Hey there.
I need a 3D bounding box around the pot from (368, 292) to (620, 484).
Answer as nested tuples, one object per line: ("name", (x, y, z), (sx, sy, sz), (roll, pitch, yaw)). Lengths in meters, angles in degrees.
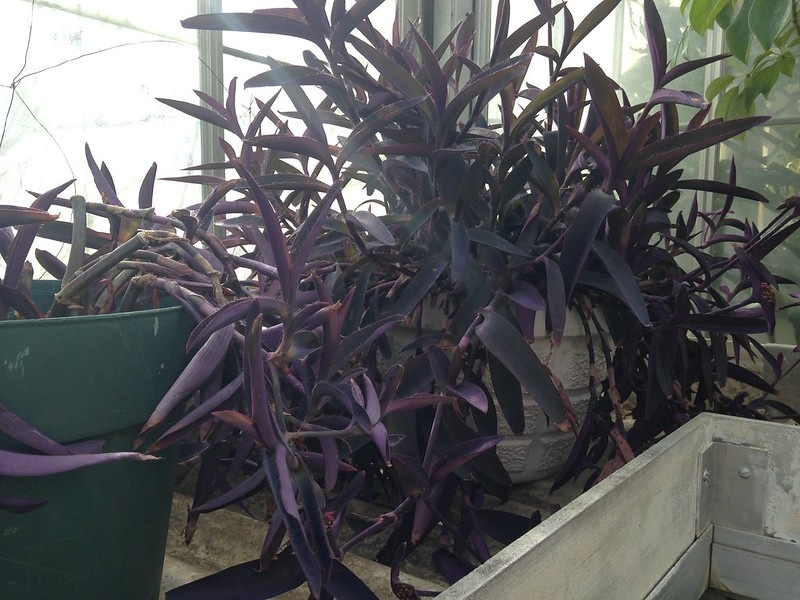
("pot", (0.144, 0.088, 0.909), (0.240, 0.304, 0.247), (-3, 2, 0))
